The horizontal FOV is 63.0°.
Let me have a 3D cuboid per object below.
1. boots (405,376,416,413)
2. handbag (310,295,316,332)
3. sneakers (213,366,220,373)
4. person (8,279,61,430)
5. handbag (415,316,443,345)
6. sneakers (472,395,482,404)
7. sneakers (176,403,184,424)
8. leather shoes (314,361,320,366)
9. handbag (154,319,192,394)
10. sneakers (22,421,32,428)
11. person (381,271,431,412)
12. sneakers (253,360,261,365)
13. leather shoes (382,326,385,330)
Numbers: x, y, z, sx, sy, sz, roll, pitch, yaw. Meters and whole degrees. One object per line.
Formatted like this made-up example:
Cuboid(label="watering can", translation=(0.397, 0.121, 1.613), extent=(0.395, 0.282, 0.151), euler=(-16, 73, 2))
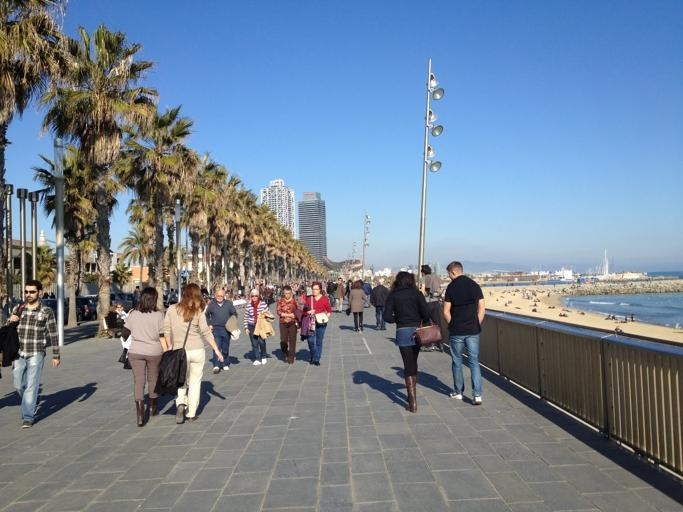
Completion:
Cuboid(label="boots", translation=(1.160, 2.290, 9.286), extent=(0.196, 0.580, 0.188), euler=(-1, 2, 29))
Cuboid(label="handbag", translation=(-0.740, 1.436, 13.711), extent=(0.137, 0.781, 0.440), euler=(-2, 1, -4))
Cuboid(label="sneakers", translation=(-2.970, 2.646, 12.998), extent=(0.111, 0.098, 0.214), euler=(0, -4, -5))
Cuboid(label="person", translation=(-5.186, 1.576, 9.285), extent=(0.683, 2.024, 0.613), euler=(-1, 2, 28))
Cuboid(label="handbag", translation=(1.476, 1.288, 9.427), extent=(0.410, 0.375, 0.734), euler=(-1, 2, 13))
Cuboid(label="sneakers", translation=(2.335, 2.464, 9.601), extent=(0.161, 0.161, 0.265), euler=(-1, 2, 15))
Cuboid(label="sneakers", translation=(-2.700, 2.586, 9.169), extent=(0.101, 0.327, 0.126), euler=(-1, -11, -2))
Cuboid(label="leather shoes", translation=(-0.616, 2.607, 13.549), extent=(0.163, 0.094, 0.185), euler=(-2, 2, 1))
Cuboid(label="handbag", translation=(-2.766, 1.840, 8.910), extent=(0.505, 0.626, 0.283), euler=(-2, 2, -18))
Cuboid(label="sneakers", translation=(-5.161, 2.720, 9.028), extent=(0.157, 0.098, 0.149), euler=(-3, 2, -23))
Cuboid(label="person", translation=(1.133, 1.408, 9.459), extent=(0.772, 2.326, 0.587), euler=(-1, 1, 10))
Cuboid(label="sneakers", translation=(-2.143, 2.663, 13.935), extent=(0.200, 0.090, 0.375), euler=(-2, 2, -9))
Cuboid(label="leather shoes", translation=(1.626, 2.790, 21.582), extent=(0.120, 0.189, 0.101), euler=(-8, -5, -8))
